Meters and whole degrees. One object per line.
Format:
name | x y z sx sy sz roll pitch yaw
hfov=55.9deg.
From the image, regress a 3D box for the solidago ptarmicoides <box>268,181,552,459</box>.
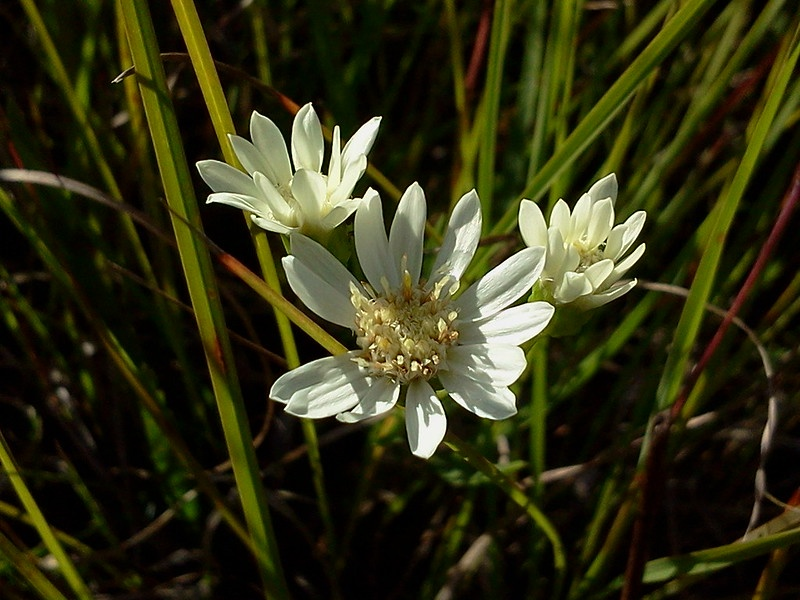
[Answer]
solidago ptarmicoides | 0.051 0.057 2.131 0.713 0.320 0.889 20 59 21
